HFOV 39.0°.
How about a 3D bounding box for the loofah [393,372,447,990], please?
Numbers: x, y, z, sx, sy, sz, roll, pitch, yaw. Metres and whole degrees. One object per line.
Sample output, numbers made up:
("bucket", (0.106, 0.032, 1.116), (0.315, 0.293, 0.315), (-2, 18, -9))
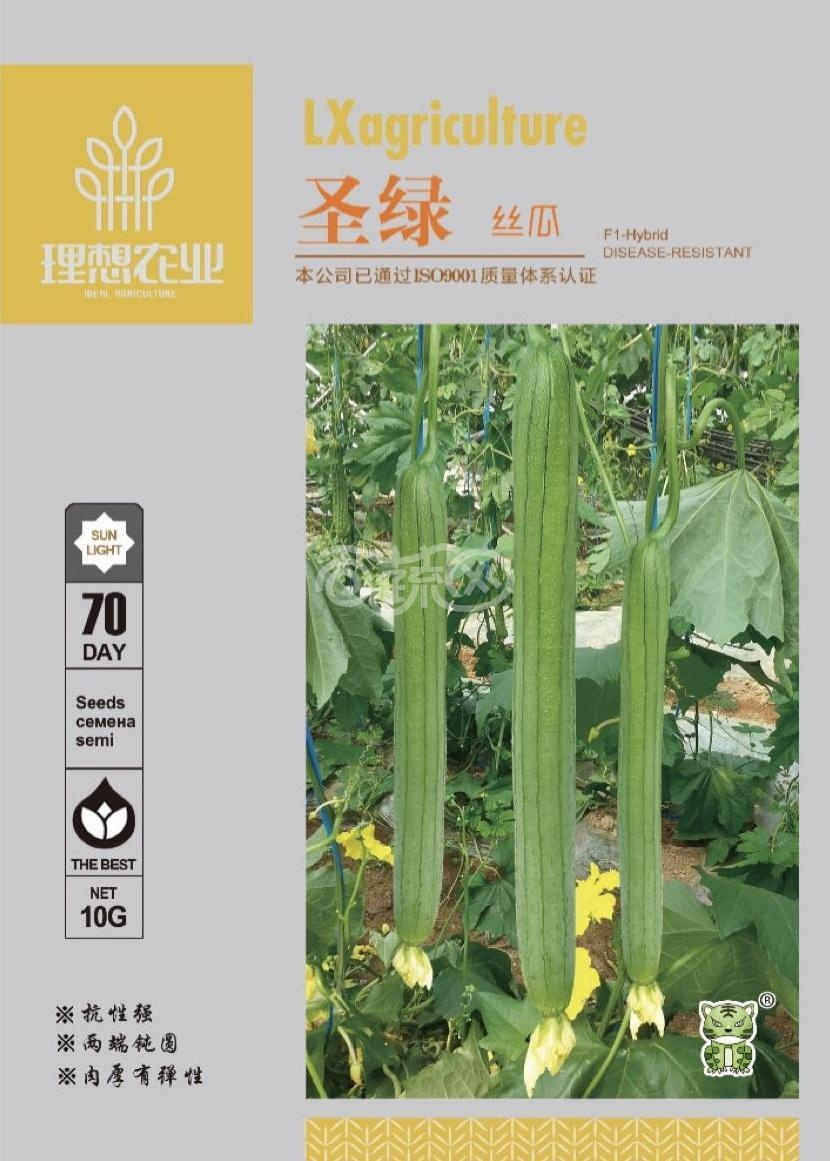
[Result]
("loofah", (-0.002, 0.266, 2.631), (0.155, 1.287, 0.082), (-5, 4, -41))

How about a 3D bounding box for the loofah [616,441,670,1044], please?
("loofah", (0.514, 0.451, 2.622), (0.138, 1.111, 0.103), (-2, 3, 3))
